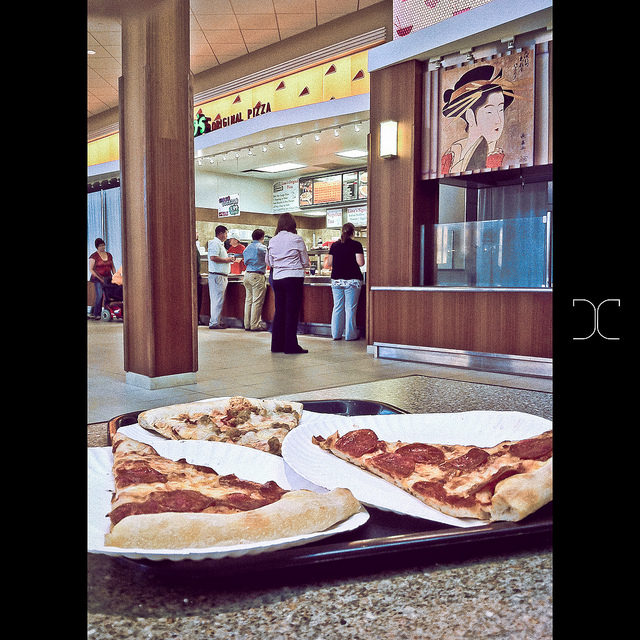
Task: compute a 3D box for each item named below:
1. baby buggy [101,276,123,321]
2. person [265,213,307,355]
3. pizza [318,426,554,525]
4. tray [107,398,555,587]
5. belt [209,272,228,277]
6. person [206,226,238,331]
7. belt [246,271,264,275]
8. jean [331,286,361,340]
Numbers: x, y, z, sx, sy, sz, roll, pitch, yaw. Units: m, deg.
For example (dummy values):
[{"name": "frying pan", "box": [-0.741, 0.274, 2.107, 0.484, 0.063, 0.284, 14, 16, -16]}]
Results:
[{"name": "baby buggy", "box": [-3.651, -0.388, 9.685, 0.313, 0.648, 0.542, 1, 0, -25]}, {"name": "person", "box": [-0.331, -0.381, 5.670, 0.404, 1.327, 0.459, 1, 0, -6]}, {"name": "pizza", "box": [0.185, 0.156, 0.761, 0.226, 0.057, 0.184, 17, 16, 39]}, {"name": "tray", "box": [-0.022, 0.160, 0.726, 0.429, 0.157, 0.418, -5, 7, -30]}, {"name": "belt", "box": [-1.521, -0.695, 8.280, 0.269, 0.055, 0.093, 1, 0, -21]}, {"name": "person", "box": [-1.591, -0.646, 8.840, 0.461, 1.400, 1.452, 1, 0, -12]}, {"name": "belt", "box": [-0.911, -0.680, 7.812, 0.240, 0.039, 0.046, 1, 0, -5]}, {"name": "jean", "box": [0.314, -0.116, 6.882, 0.343, 0.276, 1.032, 1, 47, -1]}]
